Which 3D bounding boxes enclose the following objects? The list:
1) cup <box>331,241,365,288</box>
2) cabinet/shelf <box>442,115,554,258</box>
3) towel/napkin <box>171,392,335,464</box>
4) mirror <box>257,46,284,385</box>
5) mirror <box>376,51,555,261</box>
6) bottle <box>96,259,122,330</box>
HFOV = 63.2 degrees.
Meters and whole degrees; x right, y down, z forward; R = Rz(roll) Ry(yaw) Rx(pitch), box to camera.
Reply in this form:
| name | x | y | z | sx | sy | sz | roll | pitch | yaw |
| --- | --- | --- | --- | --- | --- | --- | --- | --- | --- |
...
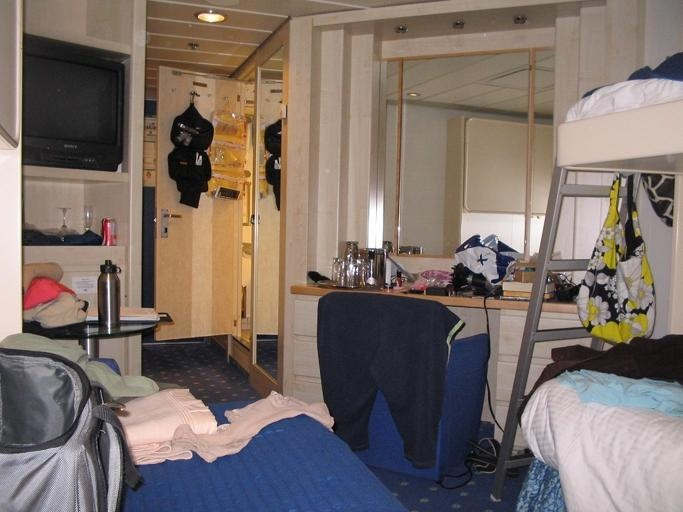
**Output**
| name | x | y | z | sx | sy | sz | roll | pitch | yaw |
| --- | --- | --- | --- | --- | --- | --- | --- | --- | --- |
| cup | 0.067 | 0.069 | 3.526 | 0.300 | 0.311 | 0.173 | -1 | -1 | 29 |
| cabinet/shelf | 1.037 | -0.458 | 3.582 | 0.915 | 0.918 | 0.328 | 1 | -1 | 2 |
| towel/napkin | -0.299 | 0.544 | 1.844 | 0.539 | 0.081 | 0.266 | -2 | 7 | -36 |
| mirror | -0.546 | -0.313 | 4.073 | 0.138 | 2.306 | 0.751 | 0 | 6 | -19 |
| mirror | 0.863 | -0.696 | 3.691 | 1.388 | 1.430 | 0.462 | 1 | 0 | 5 |
| bottle | -1.016 | 0.168 | 2.429 | 0.088 | 0.289 | 0.166 | -1 | 6 | -25 |
